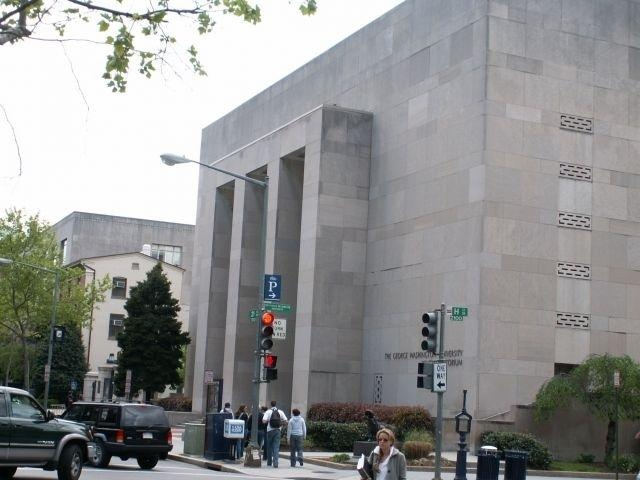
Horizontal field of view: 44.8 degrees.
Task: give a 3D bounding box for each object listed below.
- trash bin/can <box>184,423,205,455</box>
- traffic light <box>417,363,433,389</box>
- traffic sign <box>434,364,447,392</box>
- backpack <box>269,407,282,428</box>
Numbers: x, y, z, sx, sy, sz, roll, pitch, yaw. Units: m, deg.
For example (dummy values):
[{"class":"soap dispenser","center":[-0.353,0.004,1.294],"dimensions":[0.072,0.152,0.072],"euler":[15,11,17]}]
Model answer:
[{"class":"trash bin/can","center":[-4.868,7.776,30.267],"dimensions":[0.563,0.960,1.067],"euler":[3,-8,-27]},{"class":"traffic light","center":[3.120,4.014,23.116],"dimensions":[0.463,0.817,0.891],"euler":[1,-15,6]},{"class":"traffic sign","center":[3.519,4.072,23.174],"dimensions":[0.375,0.840,0.387],"euler":[2,-14,3]},{"class":"backpack","center":[-1.597,6.371,27.810],"dimensions":[0.434,0.725,0.326],"euler":[4,-14,-5]}]
